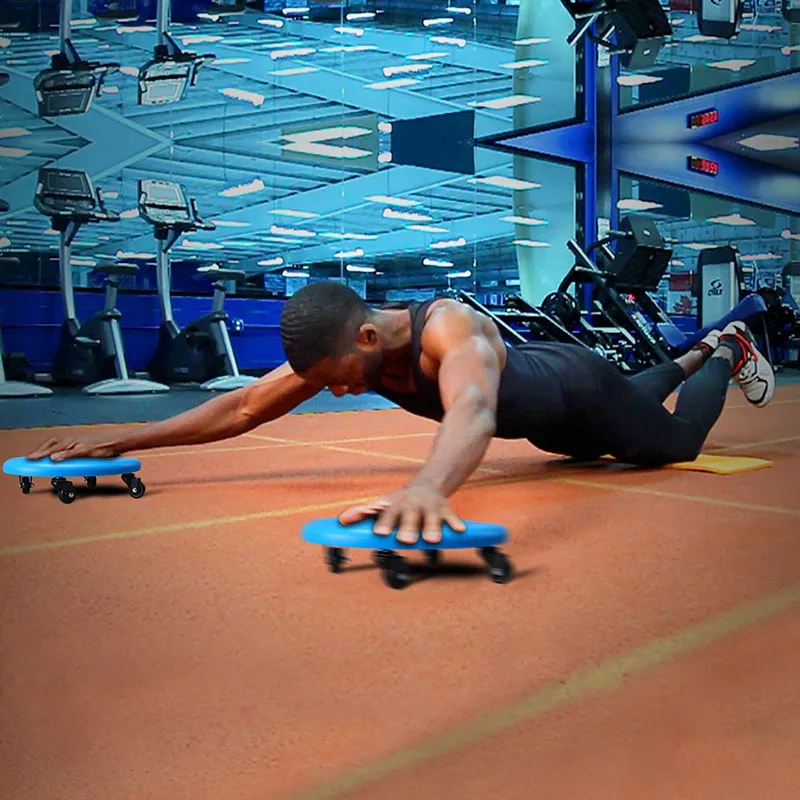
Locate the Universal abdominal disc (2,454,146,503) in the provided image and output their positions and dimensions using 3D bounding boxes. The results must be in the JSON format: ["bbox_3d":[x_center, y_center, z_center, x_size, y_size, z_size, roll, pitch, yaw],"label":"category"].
[{"bbox_3d":[-0.719,0.177,1.853,0.276,0.071,0.245,-2,9,-41],"label":"Universal abdominal disc"}]

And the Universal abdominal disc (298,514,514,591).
[{"bbox_3d":[0.009,0.201,1.216,0.389,0.098,0.263,2,5,-5],"label":"Universal abdominal disc"}]
